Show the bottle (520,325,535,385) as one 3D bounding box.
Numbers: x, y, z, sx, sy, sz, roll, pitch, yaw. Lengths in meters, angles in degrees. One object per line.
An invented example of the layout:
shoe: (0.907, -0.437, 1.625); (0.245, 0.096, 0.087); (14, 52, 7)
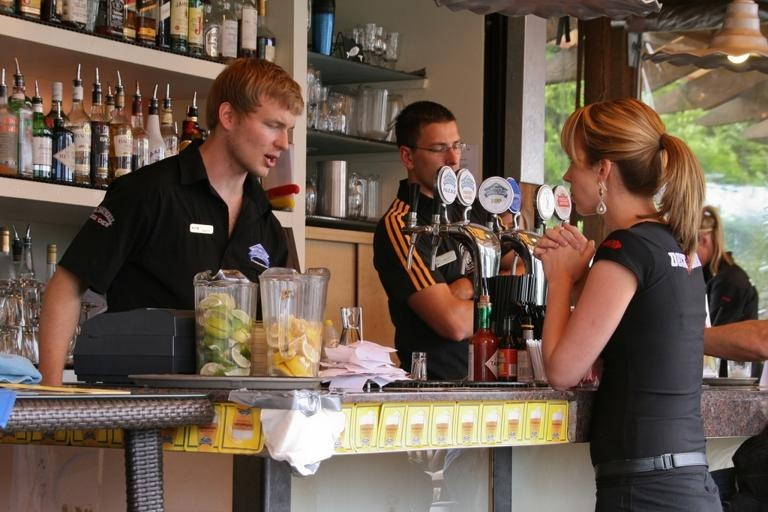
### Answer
bottle: (0.497, 0.333, 2.695); (0.064, 0.197, 0.053); (1, 2, 32)

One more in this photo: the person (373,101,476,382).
person: (0.181, -0.109, 3.505); (0.441, 1.286, 0.739); (0, 1, -1)

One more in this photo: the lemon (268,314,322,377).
lemon: (-0.248, 0.258, 2.286); (0.147, 0.146, 0.167); (0, -11, 2)

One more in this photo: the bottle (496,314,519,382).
bottle: (0.439, 0.320, 2.748); (0.073, 0.215, 0.183); (1, 2, 10)

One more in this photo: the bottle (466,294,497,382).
bottle: (0.353, 0.284, 2.742); (0.094, 0.289, 0.176); (1, 1, 4)

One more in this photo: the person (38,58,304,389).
person: (-0.763, -0.154, 2.851); (0.916, 1.158, 0.280); (0, 2, -23)
